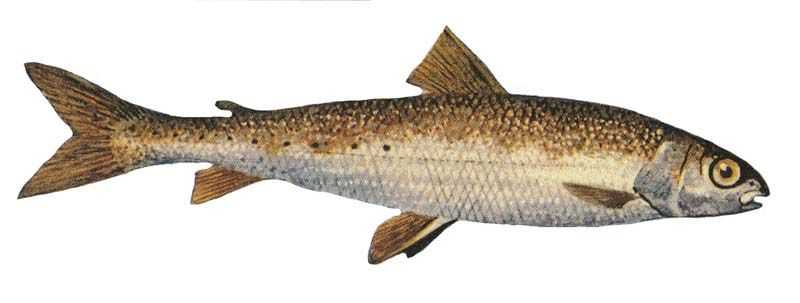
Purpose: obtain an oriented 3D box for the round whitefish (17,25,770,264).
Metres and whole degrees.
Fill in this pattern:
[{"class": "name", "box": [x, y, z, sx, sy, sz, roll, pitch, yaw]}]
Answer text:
[{"class": "round whitefish", "box": [0.352, 0.002, 8.556, 6.676, 2.589, 2.552, 2, -88, 44]}]
